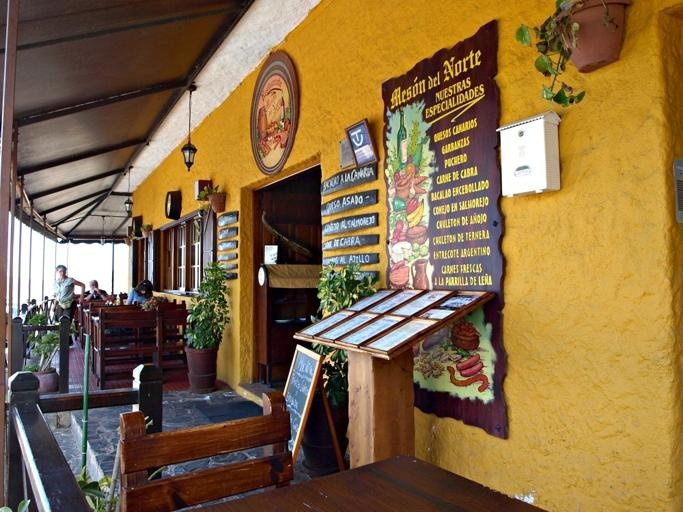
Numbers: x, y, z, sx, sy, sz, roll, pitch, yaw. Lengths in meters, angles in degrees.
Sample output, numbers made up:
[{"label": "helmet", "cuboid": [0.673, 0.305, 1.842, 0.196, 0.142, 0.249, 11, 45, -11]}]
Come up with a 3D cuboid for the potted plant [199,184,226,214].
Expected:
[{"label": "potted plant", "cuboid": [-1.661, -0.738, 7.098, 0.385, 0.300, 0.365, -2, -4, -10]}]

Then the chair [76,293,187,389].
[{"label": "chair", "cuboid": [-2.725, 1.161, 7.292, 1.209, 1.041, 1.525, -1, -5, -24]}]

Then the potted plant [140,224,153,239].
[{"label": "potted plant", "cuboid": [-4.196, -0.526, 11.790, 0.276, 0.315, 0.281, -1, 2, -13]}]

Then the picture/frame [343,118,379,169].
[{"label": "picture/frame", "cuboid": [0.166, -0.867, 4.219, 0.072, 0.372, 0.325, -13, -16, -26]}]

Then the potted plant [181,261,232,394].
[{"label": "potted plant", "cuboid": [-1.603, 0.840, 6.629, 0.558, 1.551, 0.470, 0, -5, -35]}]
